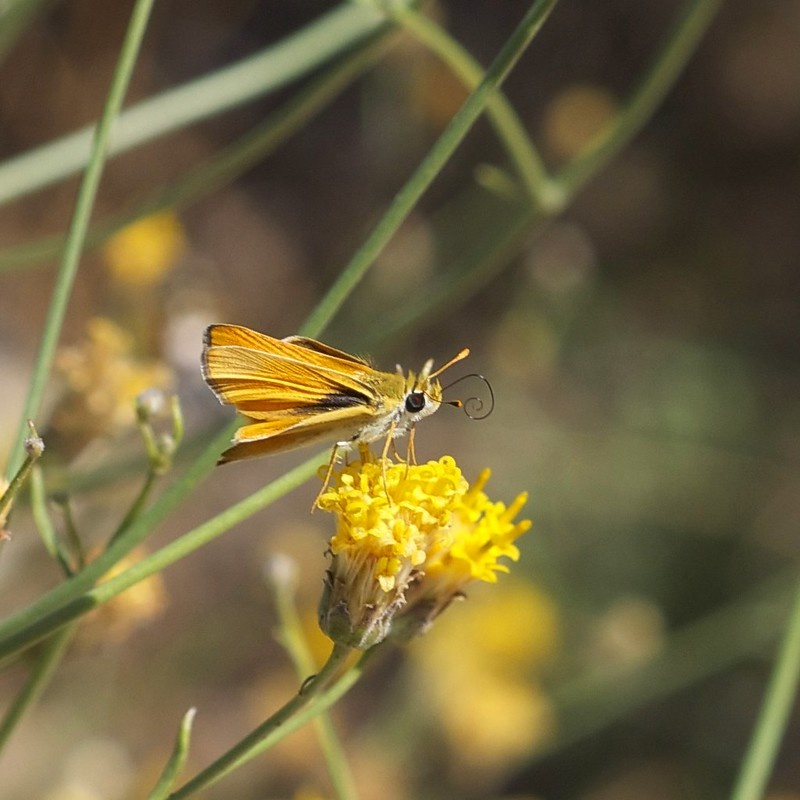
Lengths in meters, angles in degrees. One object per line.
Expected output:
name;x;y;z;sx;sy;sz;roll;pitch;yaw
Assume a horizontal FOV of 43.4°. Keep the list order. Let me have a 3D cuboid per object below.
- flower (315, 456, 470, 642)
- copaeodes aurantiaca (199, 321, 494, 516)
flower;-0.004;0.091;0.635;0.090;0.100;0.085;28;-9;30
copaeodes aurantiaca;-0.052;-0.004;0.625;0.202;0.085;0.100;-1;-87;-7
